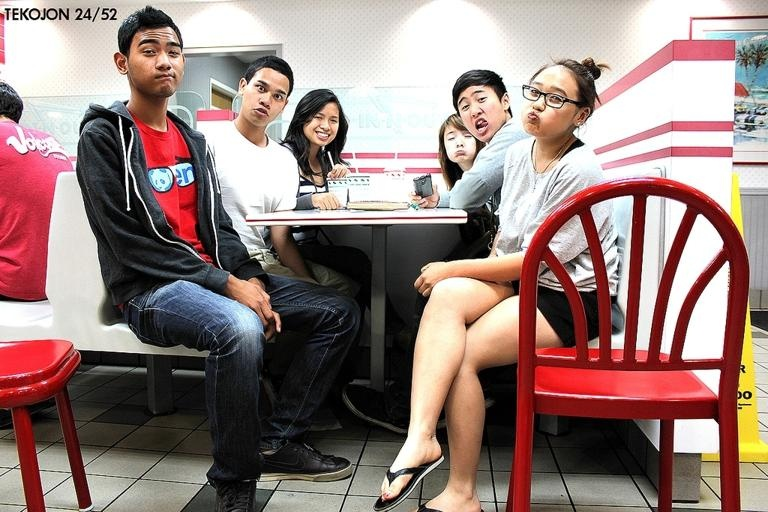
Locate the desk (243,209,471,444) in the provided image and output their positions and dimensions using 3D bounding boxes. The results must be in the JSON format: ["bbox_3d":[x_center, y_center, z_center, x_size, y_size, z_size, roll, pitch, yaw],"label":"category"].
[{"bbox_3d":[-0.083,0.231,2.380,0.906,0.789,0.864,1,5,1],"label":"desk"}]

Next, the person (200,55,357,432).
[{"bbox_3d":[-0.533,-0.128,2.792,0.970,1.674,0.656,7,20,1],"label":"person"}]

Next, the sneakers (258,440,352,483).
[{"bbox_3d":[-0.318,0.806,2.136,0.420,0.151,0.145,1,-1,-9],"label":"sneakers"}]

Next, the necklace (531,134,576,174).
[{"bbox_3d":[0.631,-0.395,2.020,0.190,0.121,0.109,-4,3,1],"label":"necklace"}]
